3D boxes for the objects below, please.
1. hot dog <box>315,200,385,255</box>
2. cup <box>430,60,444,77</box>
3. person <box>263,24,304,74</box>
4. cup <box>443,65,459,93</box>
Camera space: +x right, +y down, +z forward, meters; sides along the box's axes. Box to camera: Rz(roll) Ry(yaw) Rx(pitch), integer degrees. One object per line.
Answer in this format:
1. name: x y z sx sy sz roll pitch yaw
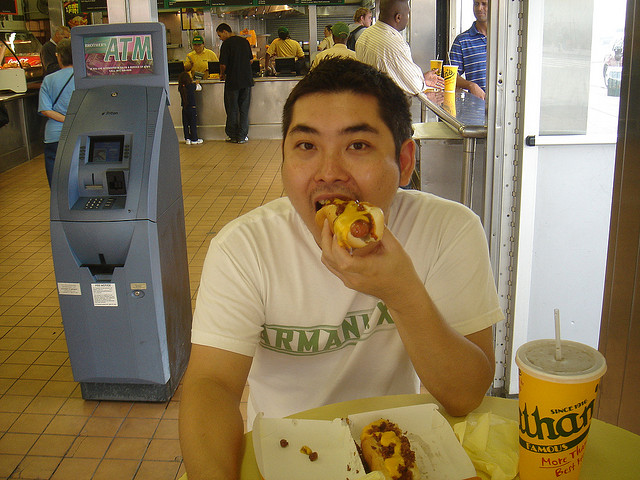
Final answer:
1. hot dog: 0.072 -0.058 1.295 0.141 0.099 0.251 -20 28 -7
2. cup: 1.037 -1.517 4.380 0.085 0.139 0.274 2 15 17
3. person: -0.914 -4.251 11.822 0.720 1.610 0.786 -5 14 -32
4. cup: 1.060 -1.303 3.995 0.100 0.224 0.339 1 15 14
